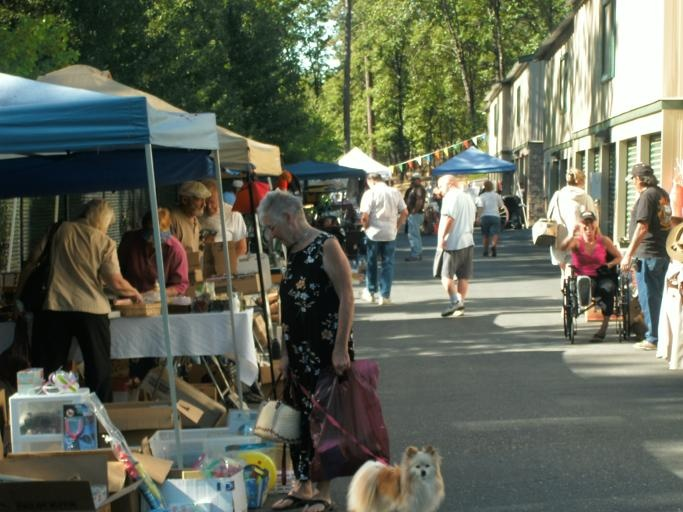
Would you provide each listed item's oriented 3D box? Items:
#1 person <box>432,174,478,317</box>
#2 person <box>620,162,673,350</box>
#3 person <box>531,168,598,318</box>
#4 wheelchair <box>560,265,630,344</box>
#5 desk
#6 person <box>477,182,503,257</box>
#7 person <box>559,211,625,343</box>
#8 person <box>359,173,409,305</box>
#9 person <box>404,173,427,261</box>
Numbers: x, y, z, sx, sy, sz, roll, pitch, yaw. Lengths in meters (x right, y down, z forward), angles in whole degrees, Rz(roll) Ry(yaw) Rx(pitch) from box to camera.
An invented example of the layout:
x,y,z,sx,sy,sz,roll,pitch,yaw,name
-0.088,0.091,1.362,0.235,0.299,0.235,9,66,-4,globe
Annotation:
x,y,z,sx,sy,sz,roll,pitch,yaw,name
1.767,-0.198,16.136,0.656,2.175,0.622,1,7,-4,person
3.947,-0.028,13.504,0.552,2.390,0.910,0,0,36,person
3.148,-0.256,14.854,0.673,1.972,0.841,3,6,17,person
3.402,0.667,14.209,0.636,1.245,1.170,0,-6,5,wheelchair
-1.579,0.786,10.217,1.045,1.049,0.850,-2,4,2,desk
3.695,-1.014,26.023,0.677,2.337,0.636,1,6,5,person
3.369,0.265,13.933,0.706,1.739,0.555,-1,2,15,person
0.712,-0.300,17.498,0.625,2.200,0.863,0,0,6,person
1.703,-1.012,25.127,0.621,2.221,0.768,0,1,34,person
